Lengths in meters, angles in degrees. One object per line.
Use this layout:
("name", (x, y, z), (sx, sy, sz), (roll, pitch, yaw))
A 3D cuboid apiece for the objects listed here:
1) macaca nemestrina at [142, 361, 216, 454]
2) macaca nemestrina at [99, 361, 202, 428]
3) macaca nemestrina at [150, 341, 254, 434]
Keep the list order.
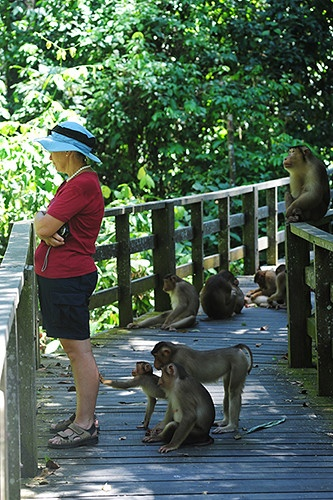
("macaca nemestrina", (0.092, 0.699, 3.676), (0.425, 0.430, 0.344), (-1, 14, -1))
("macaca nemestrina", (-0.132, 0.693, 3.834), (0.388, 0.301, 0.096), (4, -4, 19))
("macaca nemestrina", (0.084, 0.618, 3.765), (0.751, 0.493, 0.269), (1, -10, 6))
